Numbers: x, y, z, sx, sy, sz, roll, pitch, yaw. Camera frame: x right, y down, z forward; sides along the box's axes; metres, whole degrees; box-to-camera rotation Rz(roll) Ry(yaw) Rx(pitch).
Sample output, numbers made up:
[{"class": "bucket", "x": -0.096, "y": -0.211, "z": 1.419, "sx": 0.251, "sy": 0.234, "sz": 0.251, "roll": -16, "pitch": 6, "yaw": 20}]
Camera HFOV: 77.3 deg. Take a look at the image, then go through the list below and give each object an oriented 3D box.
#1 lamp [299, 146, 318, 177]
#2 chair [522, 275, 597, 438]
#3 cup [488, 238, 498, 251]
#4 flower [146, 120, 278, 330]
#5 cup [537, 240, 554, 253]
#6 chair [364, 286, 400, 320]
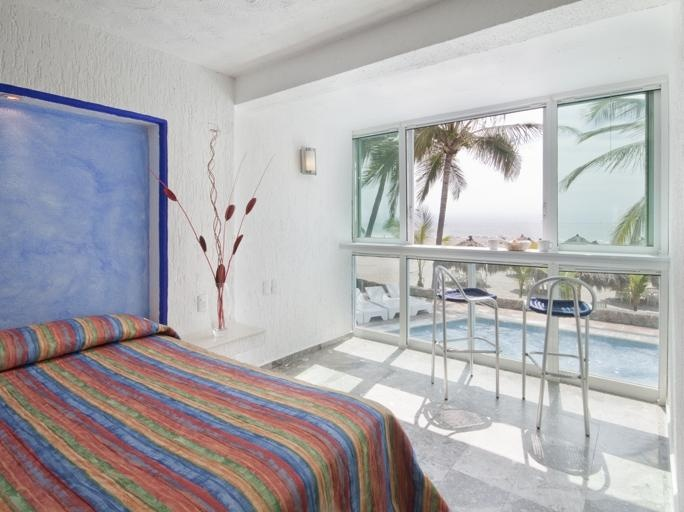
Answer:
[{"class": "lamp", "x": -0.364, "y": -1.004, "z": 4.559, "sx": 0.071, "sy": 0.308, "sz": 0.232, "roll": 7, "pitch": 15, "yaw": 34}, {"class": "chair", "x": 1.756, "y": 0.661, "z": 3.501, "sx": 0.576, "sy": 1.150, "sz": 1.181, "roll": 5, "pitch": 13, "yaw": 27}, {"class": "cup", "x": 1.454, "y": -0.110, "z": 4.135, "sx": 0.101, "sy": 0.106, "sz": 0.088, "roll": 7, "pitch": 14, "yaw": 34}, {"class": "flower", "x": -1.023, "y": -0.266, "z": 3.717, "sx": 0.501, "sy": 1.649, "sz": 1.091, "roll": 7, "pitch": 15, "yaw": 33}, {"class": "cup", "x": 1.870, "y": -0.086, "z": 3.926, "sx": 0.152, "sy": 0.106, "sz": 0.095, "roll": 2, "pitch": 2, "yaw": 8}, {"class": "chair", "x": 0.473, "y": 0.541, "z": 4.982, "sx": 0.247, "sy": 0.263, "sz": 0.440, "roll": -9, "pitch": 14, "yaw": -27}]
